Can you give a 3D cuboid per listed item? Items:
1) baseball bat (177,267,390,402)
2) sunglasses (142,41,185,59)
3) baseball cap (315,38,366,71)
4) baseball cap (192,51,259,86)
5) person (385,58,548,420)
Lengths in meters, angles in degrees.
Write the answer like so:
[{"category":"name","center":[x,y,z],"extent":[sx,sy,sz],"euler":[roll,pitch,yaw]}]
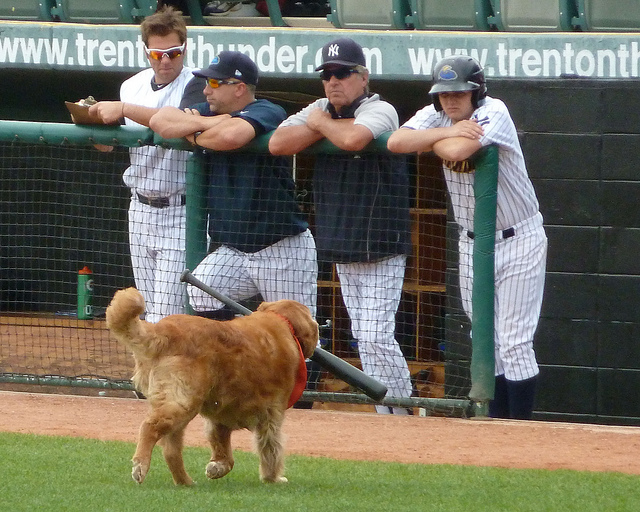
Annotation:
[{"category":"baseball bat","center":[-0.264,0.487,8.837],"extent":[1.599,0.156,0.162],"euler":[30,-26,0]},{"category":"sunglasses","center":[-1.107,-1.422,9.756],"extent":[0.285,0.121,0.136],"euler":[0,12,-6]},{"category":"baseball cap","center":[0.130,-1.354,9.444],"extent":[0.317,0.189,0.418],"euler":[1,12,16]},{"category":"baseball cap","center":[-0.650,-1.285,9.492],"extent":[0.470,0.216,0.267],"euler":[1,13,-30]},{"category":"person","center":[1.021,-0.083,9.371],"extent":[0.969,2.409,0.546],"euler":[3,13,6]}]
